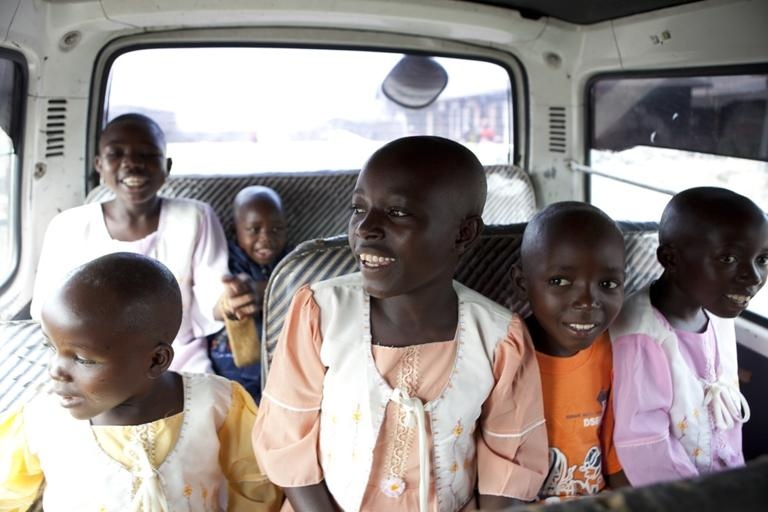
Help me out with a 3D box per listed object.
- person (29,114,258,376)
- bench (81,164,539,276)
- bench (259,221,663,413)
[{"bbox_3d":[-1.046,-0.073,3.537,1.333,1.454,1.105,-1,1,-13],"label":"person"},{"bbox_3d":[-0.573,-0.187,3.686,1.778,0.280,0.390,-13,46,-42],"label":"bench"},{"bbox_3d":[0.101,0.345,2.511,1.253,0.807,0.630,-1,-2,-9],"label":"bench"}]
